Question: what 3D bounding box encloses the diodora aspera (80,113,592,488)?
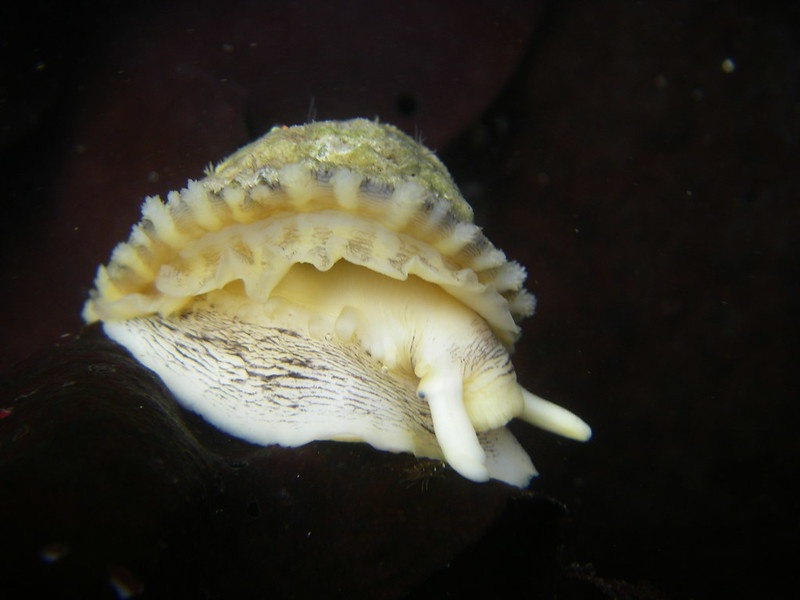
[{"bbox_3d":[-0.201,-0.038,2.343,1.151,0.286,0.849,11,82,-1],"label":"diodora aspera"}]
